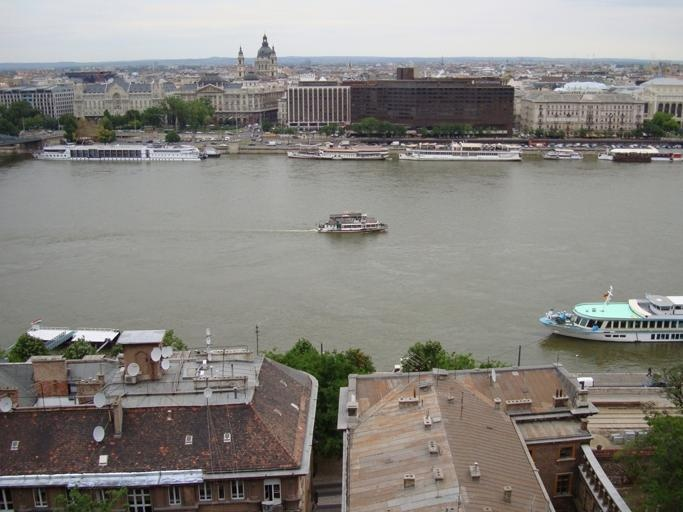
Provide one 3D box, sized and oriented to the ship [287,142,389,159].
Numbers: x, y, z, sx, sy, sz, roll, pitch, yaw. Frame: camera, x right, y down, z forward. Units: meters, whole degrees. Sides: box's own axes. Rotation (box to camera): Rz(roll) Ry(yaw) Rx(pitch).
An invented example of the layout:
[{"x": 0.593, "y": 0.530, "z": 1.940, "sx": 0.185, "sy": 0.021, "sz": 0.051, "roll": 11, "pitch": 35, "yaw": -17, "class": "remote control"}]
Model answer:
[{"x": -0.111, "y": -7.931, "z": 79.084, "sx": 7.382, "sy": 0.811, "sz": 4.162, "roll": 2, "pitch": 13, "yaw": 8, "class": "ship"}]
